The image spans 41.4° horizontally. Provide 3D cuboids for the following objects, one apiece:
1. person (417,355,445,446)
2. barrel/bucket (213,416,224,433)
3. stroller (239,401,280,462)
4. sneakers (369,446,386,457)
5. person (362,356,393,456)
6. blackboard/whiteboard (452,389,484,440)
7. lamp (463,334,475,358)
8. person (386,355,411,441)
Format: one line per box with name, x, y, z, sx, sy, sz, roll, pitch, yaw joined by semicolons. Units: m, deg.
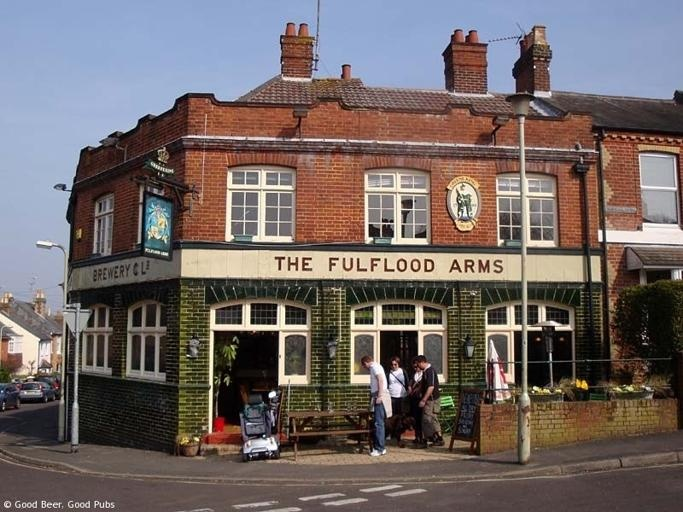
person;2.341;3.929;24.729;0.673;2.440;0.831;-3;-9;9
barrel/bucket;-3.517;4.853;25.951;0.287;0.311;0.340;0;-9;4
stroller;-2.274;4.594;24.132;0.826;1.734;1.664;-6;-1;-9
sneakers;0.945;5.185;23.744;0.427;0.236;0.176;0;-9;3
person;0.959;4.026;24.117;0.621;2.631;0.983;-3;-14;7
blackboard/whiteboard;3.334;4.214;23.977;0.211;1.397;1.012;10;-19;-40
lamp;3.698;2.624;26.386;0.321;0.700;0.325;-2;-14;1
person;1.492;3.910;25.081;0.570;2.279;0.630;-2;18;-3
